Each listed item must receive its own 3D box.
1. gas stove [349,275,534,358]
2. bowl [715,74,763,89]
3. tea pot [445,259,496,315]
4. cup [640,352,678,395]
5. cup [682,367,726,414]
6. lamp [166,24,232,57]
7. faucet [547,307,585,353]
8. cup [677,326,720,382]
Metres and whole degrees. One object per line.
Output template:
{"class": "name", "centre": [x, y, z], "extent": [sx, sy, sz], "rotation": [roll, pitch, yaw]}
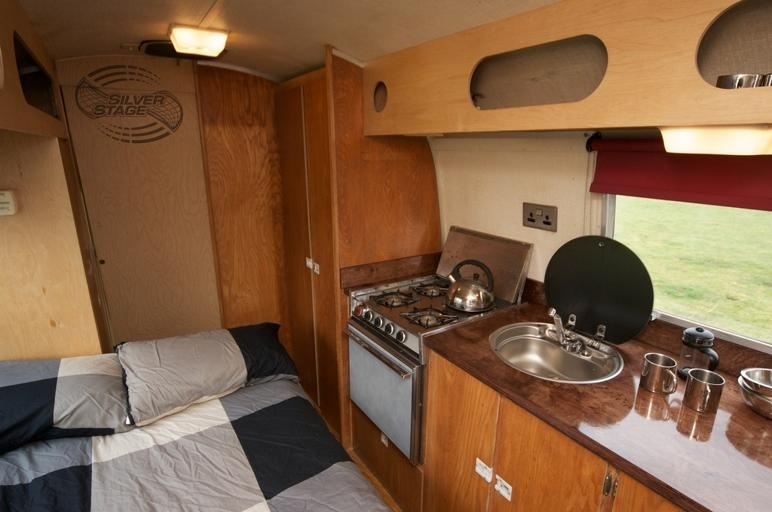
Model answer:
{"class": "gas stove", "centre": [0.280, 0.342, 3.049], "extent": [0.958, 0.295, 0.921], "rotation": [-3, 16, -9]}
{"class": "bowl", "centre": [1.300, -0.645, 1.848], "extent": [0.095, 0.038, 0.093], "rotation": [-1, 11, 0]}
{"class": "tea pot", "centre": [0.480, 0.164, 2.886], "extent": [0.260, 0.287, 0.206], "rotation": [1, 11, 14]}
{"class": "cup", "centre": [1.216, 0.519, 2.235], "extent": [0.139, 0.161, 0.127], "rotation": [-2, 11, 0]}
{"class": "cup", "centre": [1.322, 0.572, 2.094], "extent": [0.131, 0.138, 0.207], "rotation": [8, 25, 37]}
{"class": "lamp", "centre": [-1.024, -1.177, 2.753], "extent": [0.284, 0.102, 0.244], "rotation": [-5, 10, -23]}
{"class": "faucet", "centre": [0.940, 0.389, 2.609], "extent": [0.106, 0.201, 0.151], "rotation": [-29, 32, -17]}
{"class": "cup", "centre": [1.381, 0.425, 2.228], "extent": [0.144, 0.251, 0.251], "rotation": [1, 16, 16]}
